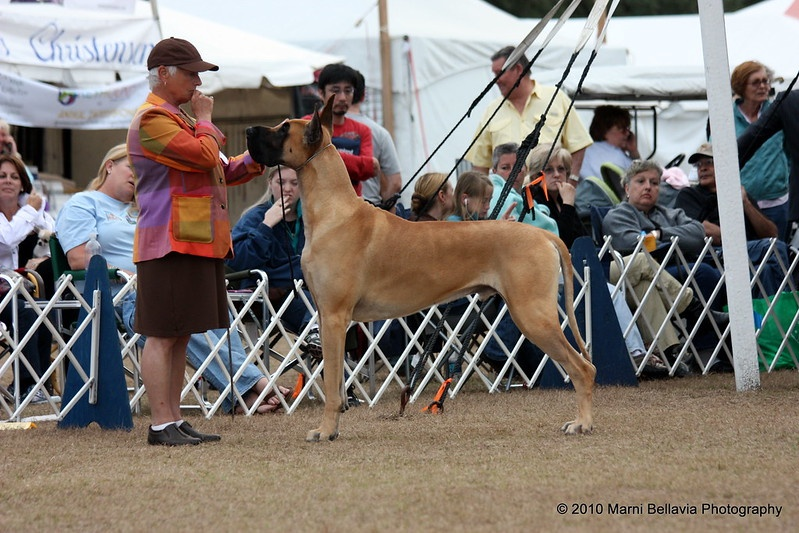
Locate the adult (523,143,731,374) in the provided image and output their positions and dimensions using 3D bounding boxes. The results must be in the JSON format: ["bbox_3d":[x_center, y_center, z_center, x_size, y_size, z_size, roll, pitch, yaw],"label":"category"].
[{"bbox_3d":[2.684,-0.332,19.343,1.135,1.657,1.301,-3,-28,-4],"label":"adult"}]

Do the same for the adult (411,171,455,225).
[{"bbox_3d":[0.395,-0.661,18.892,0.500,0.742,0.408,0,1,-38],"label":"adult"}]

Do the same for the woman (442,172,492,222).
[{"bbox_3d":[0.773,-0.724,18.468,0.571,0.749,0.467,-1,5,-9],"label":"woman"}]

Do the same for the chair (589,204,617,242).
[{"bbox_3d":[2.215,-0.445,19.349,0.355,0.413,0.356,0,4,8],"label":"chair"}]

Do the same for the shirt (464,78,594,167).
[{"bbox_3d":[1.570,-1.643,20.190,1.628,1.203,0.653,6,-8,7],"label":"shirt"}]

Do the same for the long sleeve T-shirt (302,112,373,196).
[{"bbox_3d":[-0.644,-1.119,17.620,0.880,0.950,0.548,-11,3,-1],"label":"long sleeve T-shirt"}]

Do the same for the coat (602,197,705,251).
[{"bbox_3d":[2.754,-0.436,18.972,0.744,0.328,0.716,2,5,1],"label":"coat"}]

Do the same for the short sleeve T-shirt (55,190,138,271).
[{"bbox_3d":[-3.131,-0.333,17.960,0.443,0.652,0.770,-22,-16,36],"label":"short sleeve T-shirt"}]

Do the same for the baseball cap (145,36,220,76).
[{"bbox_3d":[-2.091,-2.004,16.725,0.553,0.268,0.344,-3,8,2],"label":"baseball cap"}]

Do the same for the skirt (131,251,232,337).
[{"bbox_3d":[-2.125,0.275,17.007,1.328,0.919,0.710,-2,1,-20],"label":"skirt"}]

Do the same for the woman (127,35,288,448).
[{"bbox_3d":[-1.991,-0.244,17.170,1.410,3.783,1.565,-1,1,28],"label":"woman"}]

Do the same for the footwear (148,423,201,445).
[{"bbox_3d":[-2.182,1.614,16.712,0.528,0.188,0.201,0,-5,5],"label":"footwear"}]

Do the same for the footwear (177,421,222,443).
[{"bbox_3d":[-1.951,1.595,16.846,0.505,0.189,0.162,7,3,-7],"label":"footwear"}]

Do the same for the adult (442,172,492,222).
[{"bbox_3d":[0.783,-0.735,18.469,0.571,0.749,0.467,-1,5,-9],"label":"adult"}]

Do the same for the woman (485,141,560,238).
[{"bbox_3d":[1.315,-0.827,19.036,0.792,1.010,0.425,3,-19,-26],"label":"woman"}]

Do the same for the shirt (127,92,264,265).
[{"bbox_3d":[-2.187,-0.800,16.708,1.524,1.777,1.361,-1,0,2],"label":"shirt"}]

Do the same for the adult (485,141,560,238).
[{"bbox_3d":[1.266,-0.839,19.006,0.792,1.010,0.425,3,-19,-26],"label":"adult"}]
